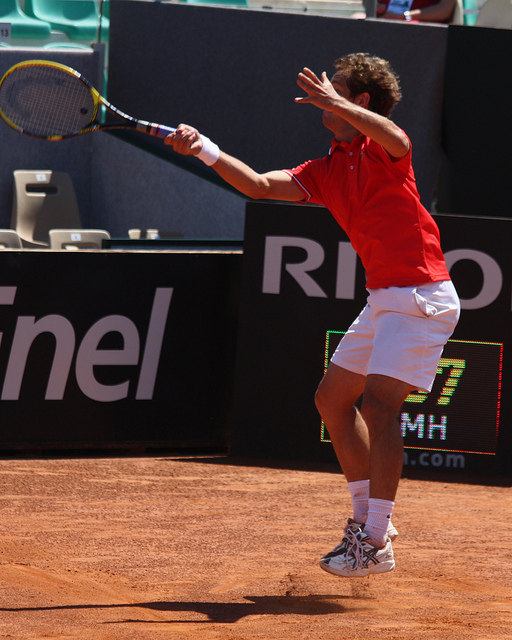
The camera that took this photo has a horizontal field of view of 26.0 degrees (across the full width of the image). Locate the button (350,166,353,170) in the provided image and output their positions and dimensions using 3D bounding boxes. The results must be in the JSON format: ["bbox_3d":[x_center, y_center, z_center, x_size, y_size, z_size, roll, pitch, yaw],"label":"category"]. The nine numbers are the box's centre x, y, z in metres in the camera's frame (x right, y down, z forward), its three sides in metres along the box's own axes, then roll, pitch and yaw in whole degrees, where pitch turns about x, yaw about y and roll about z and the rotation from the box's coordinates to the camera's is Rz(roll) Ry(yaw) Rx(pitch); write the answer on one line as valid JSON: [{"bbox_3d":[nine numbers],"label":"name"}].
[{"bbox_3d":[0.391,-0.622,4.517,0.004,0.013,0.015,-5,12,-36],"label":"button"}]

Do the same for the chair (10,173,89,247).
[{"bbox_3d":[-1.374,-0.731,7.670,0.525,0.542,0.600,10,10,42],"label":"chair"}]

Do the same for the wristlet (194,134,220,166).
[{"bbox_3d":[-0.194,-0.725,4.746,0.094,0.122,0.163,4,10,5],"label":"wristlet"}]

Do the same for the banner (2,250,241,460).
[{"bbox_3d":[-0.701,0.142,5.523,1.142,0.743,0.038,1,-2,-14],"label":"banner"}]

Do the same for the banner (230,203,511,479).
[{"bbox_3d":[0.557,0.094,5.088,1.414,1.101,0.073,2,-3,6],"label":"banner"}]
